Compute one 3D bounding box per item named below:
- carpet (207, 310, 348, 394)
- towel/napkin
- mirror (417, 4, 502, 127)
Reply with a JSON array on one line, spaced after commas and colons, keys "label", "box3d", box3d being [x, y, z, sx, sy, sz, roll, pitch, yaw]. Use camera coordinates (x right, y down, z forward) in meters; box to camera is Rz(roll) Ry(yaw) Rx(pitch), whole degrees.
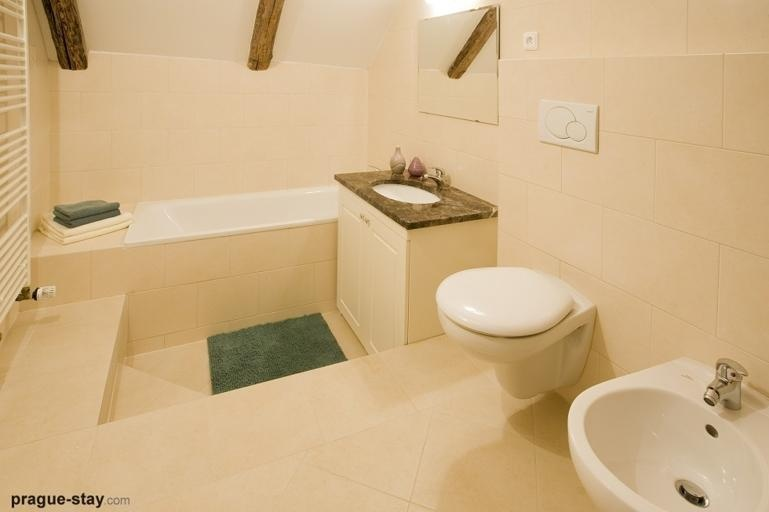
[{"label": "carpet", "box3d": [-0.725, 0.601, 3.373, 0.842, 0.109, 0.696, -11, 30, -21]}, {"label": "towel/napkin", "box3d": [-2.005, -0.261, 3.453, 0.415, 0.188, 0.500, 20, 34, 33]}, {"label": "mirror", "box3d": [0.485, -1.185, 3.177, 0.035, 0.704, 0.799, -8, 21, -20]}]
